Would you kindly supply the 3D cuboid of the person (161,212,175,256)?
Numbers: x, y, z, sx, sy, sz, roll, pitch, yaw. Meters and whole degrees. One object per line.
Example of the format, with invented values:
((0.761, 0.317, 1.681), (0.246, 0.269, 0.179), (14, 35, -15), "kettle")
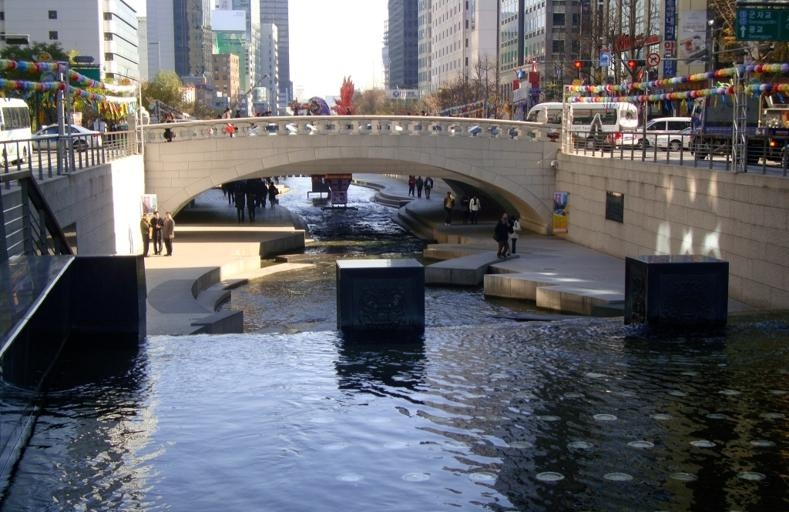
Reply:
((-10.099, -1.038, 30.123), (0.428, 1.890, 1.272), (-3, 10, -19), "person")
